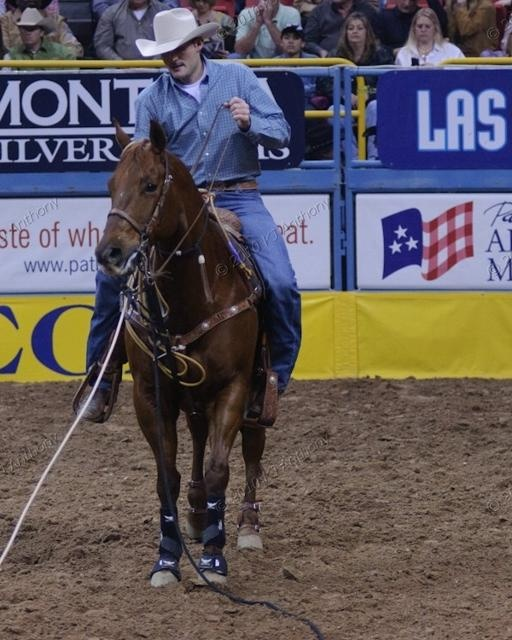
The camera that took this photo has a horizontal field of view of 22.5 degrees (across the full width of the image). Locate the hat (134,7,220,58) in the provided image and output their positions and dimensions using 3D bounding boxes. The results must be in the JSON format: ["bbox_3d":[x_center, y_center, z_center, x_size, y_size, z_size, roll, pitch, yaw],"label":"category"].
[{"bbox_3d":[-0.439,-1.671,7.393,0.380,0.163,0.410,-9,16,40],"label":"hat"}]

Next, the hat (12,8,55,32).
[{"bbox_3d":[-2.074,-2.837,12.061,0.251,0.120,0.292,-2,-18,3],"label":"hat"}]

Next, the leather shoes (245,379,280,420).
[{"bbox_3d":[0.027,0.457,7.487,0.084,0.204,0.240,7,-10,-10],"label":"leather shoes"}]

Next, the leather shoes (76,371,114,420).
[{"bbox_3d":[-1.014,0.465,7.990,0.189,0.211,0.497,26,5,-2],"label":"leather shoes"}]

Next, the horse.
[{"bbox_3d":[-0.370,0.322,7.662,0.823,2.440,3.001,-1,-4,6],"label":"horse"}]
